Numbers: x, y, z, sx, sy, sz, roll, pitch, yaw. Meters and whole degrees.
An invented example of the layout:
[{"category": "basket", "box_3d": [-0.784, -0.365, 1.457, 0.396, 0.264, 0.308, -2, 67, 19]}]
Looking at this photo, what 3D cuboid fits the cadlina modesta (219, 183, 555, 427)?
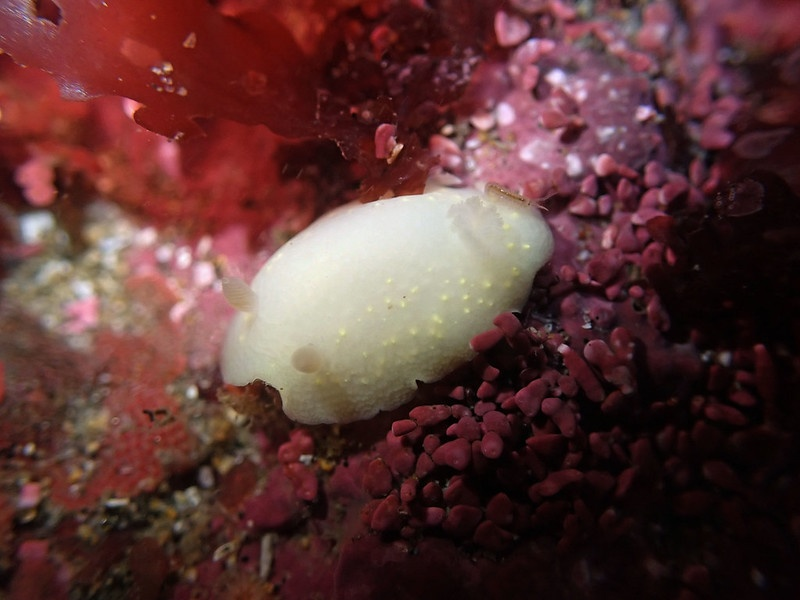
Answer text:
[{"category": "cadlina modesta", "box_3d": [-0.041, 0.171, 3.566, 1.840, 0.994, 1.236, -3, 42, 1]}]
